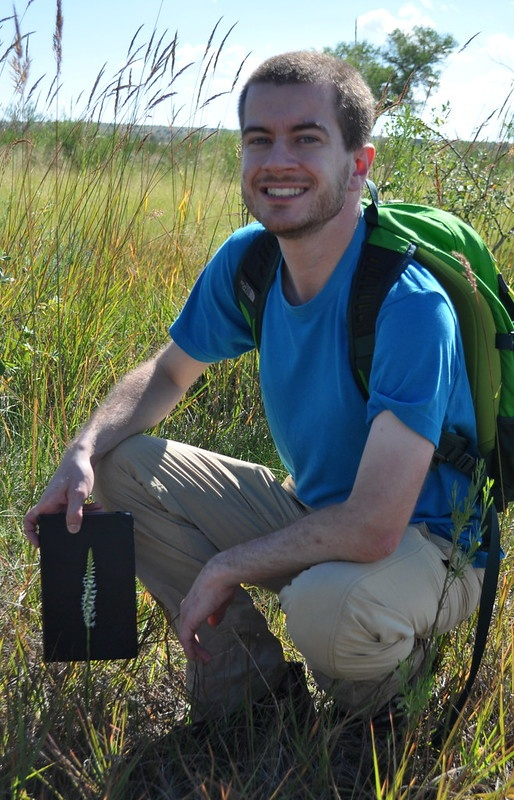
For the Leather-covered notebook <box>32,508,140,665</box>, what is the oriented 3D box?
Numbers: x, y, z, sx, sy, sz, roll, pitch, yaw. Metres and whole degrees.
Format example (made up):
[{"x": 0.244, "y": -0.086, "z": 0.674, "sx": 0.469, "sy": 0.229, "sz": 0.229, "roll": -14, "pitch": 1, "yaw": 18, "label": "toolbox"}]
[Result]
[{"x": -0.367, "y": 0.403, "z": 1.359, "sx": 0.252, "sy": 0.329, "sz": 0.141, "roll": 8, "pitch": 13, "yaw": -8, "label": "Leather-covered notebook"}]

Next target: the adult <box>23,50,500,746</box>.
[{"x": 0.023, "y": 0.030, "z": 1.646, "sx": 0.932, "sy": 1.693, "sz": 0.867, "roll": 1, "pitch": -3, "yaw": 25, "label": "adult"}]

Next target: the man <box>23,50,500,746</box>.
[{"x": 0.033, "y": 0.038, "z": 1.660, "sx": 0.942, "sy": 1.678, "sz": 0.799, "roll": 3, "pitch": -1, "yaw": 26, "label": "man"}]
